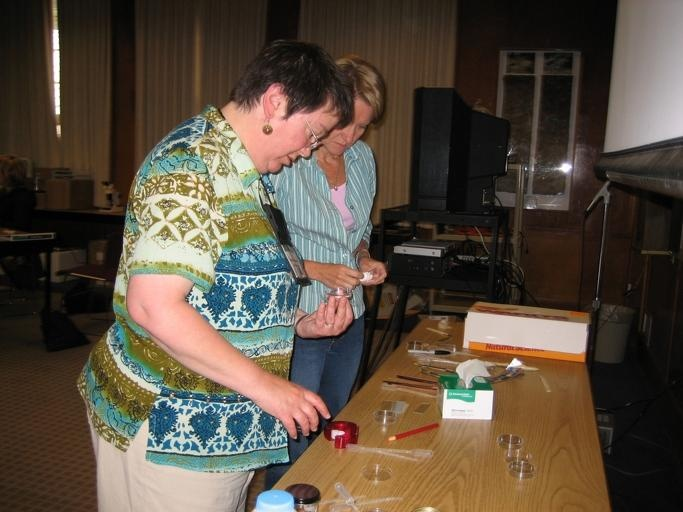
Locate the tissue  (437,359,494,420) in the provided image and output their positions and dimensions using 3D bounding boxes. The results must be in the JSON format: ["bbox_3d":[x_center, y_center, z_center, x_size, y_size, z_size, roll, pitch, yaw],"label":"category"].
[{"bbox_3d":[0.379,0.406,1.775,0.181,0.180,0.168,0,-4,4],"label":"tissue "}]

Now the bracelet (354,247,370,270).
[{"bbox_3d":[0.084,0.009,2.351,0.059,0.083,0.032,-2,-24,1],"label":"bracelet"}]

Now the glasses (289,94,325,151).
[{"bbox_3d":[-0.089,-0.338,1.391,0.031,0.107,0.099,-14,4,5],"label":"glasses"}]

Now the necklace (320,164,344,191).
[{"bbox_3d":[-0.034,-0.308,2.216,0.091,0.091,0.022,-6,-7,-43],"label":"necklace"}]

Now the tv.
[{"bbox_3d":[0.647,-0.572,3.209,0.682,0.816,0.919,1,6,7],"label":"tv"}]

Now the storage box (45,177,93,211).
[{"bbox_3d":[-3.078,-0.693,6.377,0.632,0.344,0.392,2,-1,-32],"label":"storage box"}]
